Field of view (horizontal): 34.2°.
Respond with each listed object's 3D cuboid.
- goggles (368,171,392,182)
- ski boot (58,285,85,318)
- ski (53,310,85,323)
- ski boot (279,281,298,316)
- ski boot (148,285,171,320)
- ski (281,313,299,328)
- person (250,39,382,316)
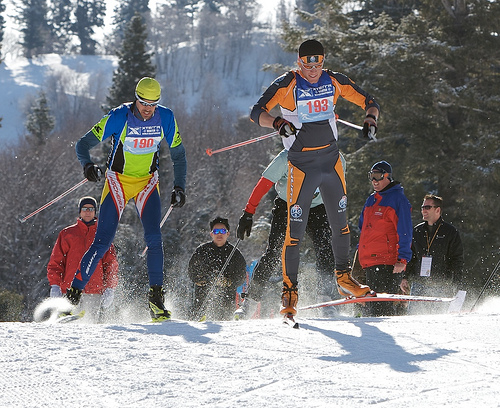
[{"bbox_3d":[1.798,-0.378,11.167,0.207,0.078,0.162,11,-5,-25],"label":"goggles"},{"bbox_3d":[-2.022,1.113,9.445,0.181,0.330,0.267,18,0,-24],"label":"ski boot"},{"bbox_3d":[-2.038,1.306,9.305,0.180,0.128,0.377,10,13,40],"label":"ski"},{"bbox_3d":[0.458,1.095,9.266,0.187,0.423,0.439,2,10,3],"label":"ski boot"},{"bbox_3d":[-1.023,1.152,9.329,0.237,0.449,0.308,0,10,-7],"label":"ski boot"},{"bbox_3d":[0.444,1.277,8.949,0.079,0.116,0.225,-3,14,-17],"label":"ski"},{"bbox_3d":[0.733,-0.257,9.280,1.408,3.175,0.699,-2,11,-18],"label":"person"}]
